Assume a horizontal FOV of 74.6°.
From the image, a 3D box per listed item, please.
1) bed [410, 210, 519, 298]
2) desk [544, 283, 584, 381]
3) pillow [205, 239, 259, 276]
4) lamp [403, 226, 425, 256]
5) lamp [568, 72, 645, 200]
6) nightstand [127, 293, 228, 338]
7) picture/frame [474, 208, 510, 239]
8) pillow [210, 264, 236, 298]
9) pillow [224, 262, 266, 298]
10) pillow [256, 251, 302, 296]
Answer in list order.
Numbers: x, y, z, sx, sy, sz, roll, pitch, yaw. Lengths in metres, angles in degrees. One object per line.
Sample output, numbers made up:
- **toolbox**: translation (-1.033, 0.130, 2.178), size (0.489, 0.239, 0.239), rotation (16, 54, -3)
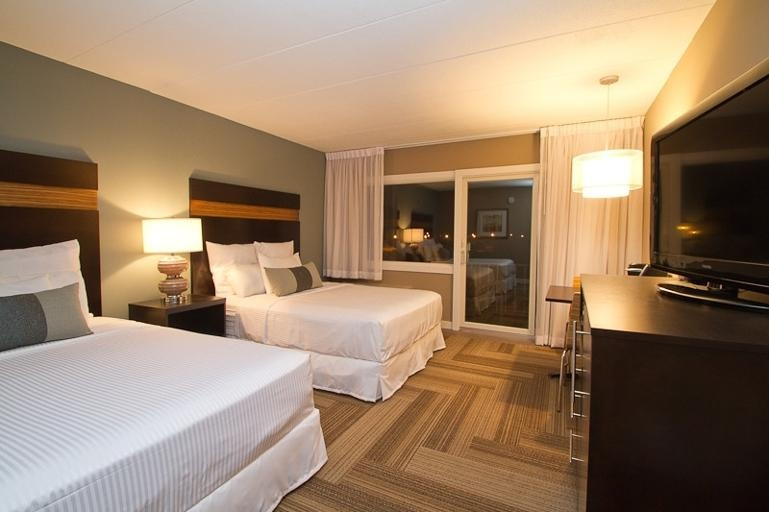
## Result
- **bed**: translation (1.305, -0.037, 6.582), size (1.046, 0.704, 1.099), rotation (1, 5, 24)
- **desk**: translation (1.609, 0.671, 4.510), size (0.460, 0.452, 0.913), rotation (0, 3, 24)
- **pillow**: translation (-1.621, 0.026, 5.293), size (0.109, 0.242, 0.389), rotation (-11, -8, 36)
- **lamp**: translation (0.392, -0.214, 6.692), size (0.301, 0.405, 0.306), rotation (0, -7, -4)
- **lamp**: translation (1.953, -1.043, 4.447), size (0.527, 1.027, 0.953), rotation (-1, 4, 23)
- **nightstand**: translation (-1.908, 0.539, 4.673), size (0.446, 0.574, 0.600), rotation (0, 0, 24)
- **picture/frame**: translation (1.344, -0.406, 6.178), size (0.367, 0.361, 0.015), rotation (3, 6, 31)
- **pillow**: translation (-1.669, 0.250, 5.185), size (0.107, 0.294, 0.289), rotation (1, -1, -41)
- **pillow**: translation (-1.415, 0.245, 5.151), size (0.111, 0.326, 0.357), rotation (-26, -17, 36)
- **pillow**: translation (-1.172, 0.137, 5.551), size (0.153, 0.390, 0.534), rotation (-25, 5, 15)
